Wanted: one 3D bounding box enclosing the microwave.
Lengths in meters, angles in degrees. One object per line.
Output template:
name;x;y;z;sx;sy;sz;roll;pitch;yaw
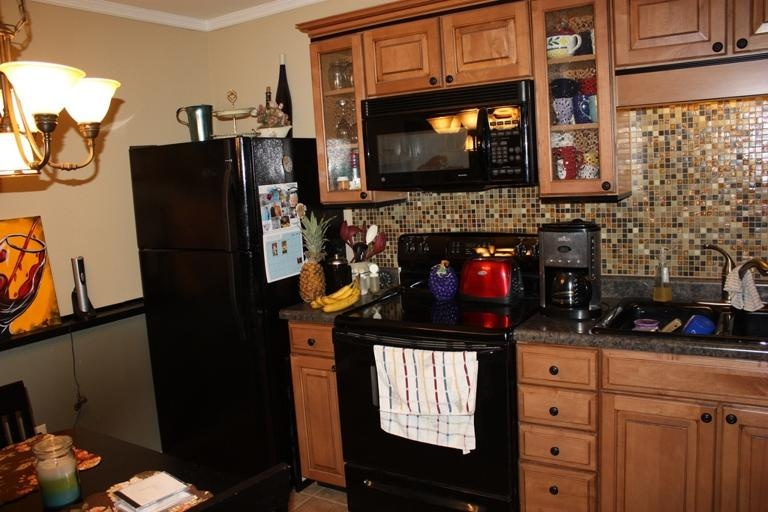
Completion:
microwave;0.439;-0.652;3.355;0.890;0.559;0.605;4;10;30

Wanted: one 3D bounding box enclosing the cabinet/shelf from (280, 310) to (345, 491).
cabinet/shelf;-0.330;0.831;3.618;0.457;1.002;0.462;11;14;42

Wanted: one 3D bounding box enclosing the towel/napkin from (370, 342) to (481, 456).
towel/napkin;0.218;0.752;2.999;0.553;0.549;0.097;-1;10;19

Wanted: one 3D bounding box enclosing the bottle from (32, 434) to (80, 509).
bottle;-1.280;0.826;2.269;0.144;0.276;0.136;2;12;0

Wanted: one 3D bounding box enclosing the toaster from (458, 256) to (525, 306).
toaster;0.596;0.143;3.273;0.326;0.206;0.266;1;4;25

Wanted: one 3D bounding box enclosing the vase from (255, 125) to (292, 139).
vase;-0.713;-0.789;3.710;0.157;0.058;0.130;1;10;13

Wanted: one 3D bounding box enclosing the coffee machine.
coffee machine;0.968;0.074;3.011;0.306;0.503;0.151;-2;9;17

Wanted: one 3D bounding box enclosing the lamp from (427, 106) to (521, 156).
lamp;0.495;-0.687;3.178;0.497;0.225;0.072;1;10;30

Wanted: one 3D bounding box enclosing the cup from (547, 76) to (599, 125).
cup;0.991;-0.807;3.032;0.239;0.235;0.255;-1;12;0

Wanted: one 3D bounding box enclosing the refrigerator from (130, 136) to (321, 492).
refrigerator;-0.892;0.238;4.003;1.004;2.432;0.925;1;9;29
